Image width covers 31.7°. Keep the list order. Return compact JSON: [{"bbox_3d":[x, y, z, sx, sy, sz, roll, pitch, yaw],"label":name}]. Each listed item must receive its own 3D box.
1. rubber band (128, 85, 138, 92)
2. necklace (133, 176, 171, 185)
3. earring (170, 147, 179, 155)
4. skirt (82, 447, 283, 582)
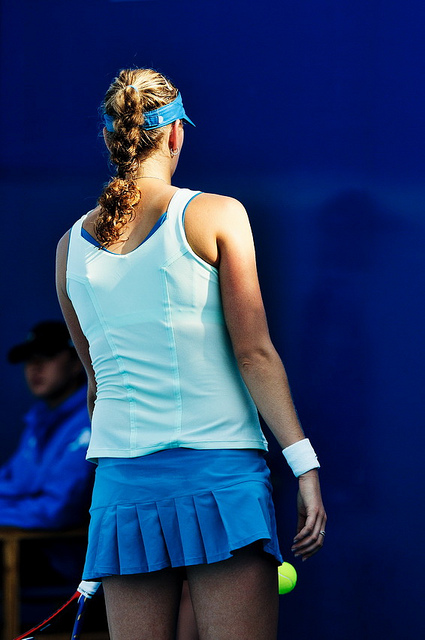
[{"bbox_3d":[-0.188,-0.551,1.772,0.009,0.010,0.038,-15,51,-38],"label":"rubber band"},{"bbox_3d":[-0.149,-0.340,1.821,0.083,0.022,0.011,-6,43,-13],"label":"necklace"},{"bbox_3d":[-0.096,-0.426,1.891,0.008,0.022,0.030,31,46,26],"label":"earring"},{"bbox_3d":[-0.090,0.425,1.729,0.429,0.231,0.261,-6,72,-3],"label":"skirt"}]
